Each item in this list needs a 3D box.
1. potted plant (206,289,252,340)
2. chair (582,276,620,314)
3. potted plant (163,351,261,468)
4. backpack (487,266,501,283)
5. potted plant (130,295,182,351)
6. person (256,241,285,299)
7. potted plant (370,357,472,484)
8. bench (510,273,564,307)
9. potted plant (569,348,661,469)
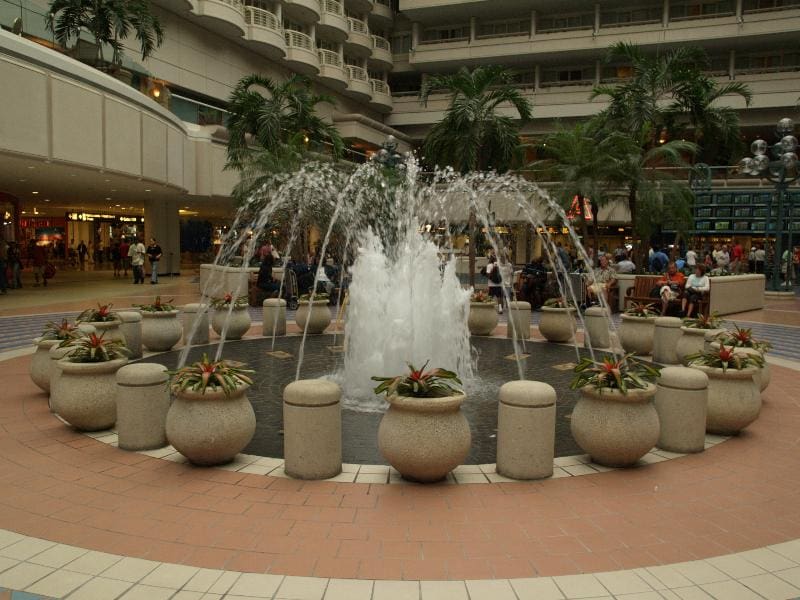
[{"bbox_3d":[-4.250,0.354,12.700,1.015,1.051,1.054,2,4,18],"label":"potted plant"},{"bbox_3d":[6.574,-0.218,16.734,1.405,1.591,1.201,3,-4,-45],"label":"chair"},{"bbox_3d":[-2.122,1.281,5.839,1.070,1.308,1.119,-2,7,-25],"label":"potted plant"},{"bbox_3d":[3.304,-0.878,17.685,0.554,0.822,0.464,1,-2,2],"label":"backpack"},{"bbox_3d":[-5.291,0.549,11.200,1.060,1.423,1.072,0,1,23],"label":"potted plant"},{"bbox_3d":[-4.810,-0.953,18.921,0.854,1.446,0.850,10,-9,-22],"label":"person"},{"bbox_3d":[0.239,1.283,5.305,0.910,1.127,0.921,-2,-3,26],"label":"potted plant"},{"bbox_3d":[4.720,-0.329,17.280,1.033,1.030,0.591,5,14,29],"label":"bench"},{"bbox_3d":[2.373,1.236,5.589,0.887,1.185,0.604,-1,3,14],"label":"potted plant"}]
